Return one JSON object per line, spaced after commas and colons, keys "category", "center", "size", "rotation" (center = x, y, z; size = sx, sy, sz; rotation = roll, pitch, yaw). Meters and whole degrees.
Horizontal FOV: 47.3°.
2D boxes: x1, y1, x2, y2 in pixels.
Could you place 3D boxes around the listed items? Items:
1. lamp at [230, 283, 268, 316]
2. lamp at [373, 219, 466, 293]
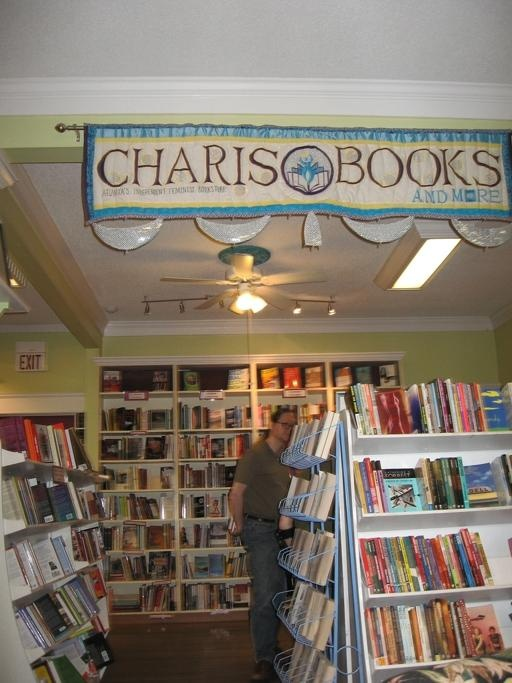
{"category": "lamp", "center": [-0.071, -0.276, 4.295], "size": [0.238, 0.217, 0.300], "rotation": [19, 6, -5]}
{"category": "lamp", "center": [1.150, -0.581, 4.014], "size": [0.324, 0.127, 0.574], "rotation": [3, -23, -13]}
